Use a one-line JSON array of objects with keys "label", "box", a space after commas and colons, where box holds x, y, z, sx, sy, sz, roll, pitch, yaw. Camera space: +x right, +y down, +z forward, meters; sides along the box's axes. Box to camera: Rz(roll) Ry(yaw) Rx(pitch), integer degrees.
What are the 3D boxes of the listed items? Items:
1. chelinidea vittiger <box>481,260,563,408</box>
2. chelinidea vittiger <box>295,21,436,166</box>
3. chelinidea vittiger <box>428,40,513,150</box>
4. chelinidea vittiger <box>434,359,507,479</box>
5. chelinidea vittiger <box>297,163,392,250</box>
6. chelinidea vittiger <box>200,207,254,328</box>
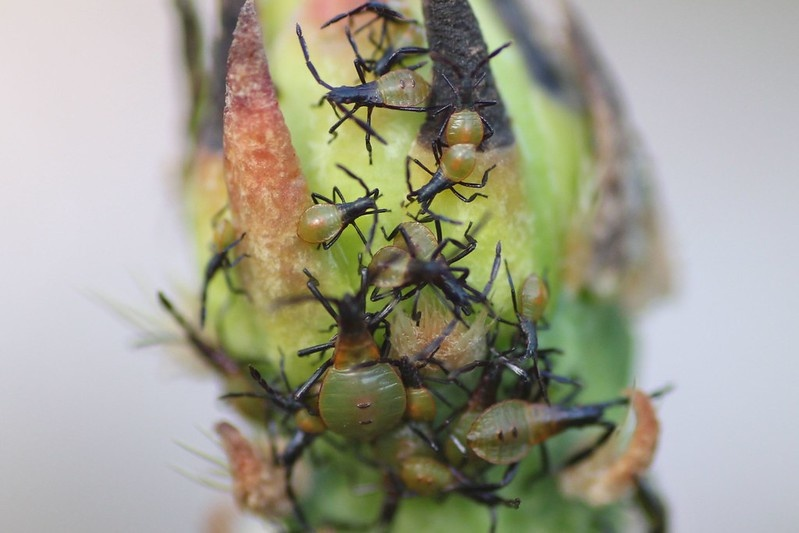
[{"label": "chelinidea vittiger", "box": [0.273, 0.148, 1.997, 0.067, 0.271, 0.199, -2, -10, 34]}, {"label": "chelinidea vittiger", "box": [-0.058, -0.380, 2.047, 0.283, 0.308, 0.107, -5, -9, 4]}, {"label": "chelinidea vittiger", "box": [0.149, -0.345, 1.938, 0.171, 0.190, 0.065, -4, 12, -20]}, {"label": "chelinidea vittiger", "box": [0.152, 0.316, 1.929, 0.151, 0.218, 0.065, 20, 2, 17]}, {"label": "chelinidea vittiger", "box": [-0.115, -0.126, 1.924, 0.151, 0.145, 0.061, -19, -5, -30]}, {"label": "chelinidea vittiger", "box": [-0.396, -0.024, 2.062, 0.040, 0.103, 0.143, 35, -50, 5]}]
